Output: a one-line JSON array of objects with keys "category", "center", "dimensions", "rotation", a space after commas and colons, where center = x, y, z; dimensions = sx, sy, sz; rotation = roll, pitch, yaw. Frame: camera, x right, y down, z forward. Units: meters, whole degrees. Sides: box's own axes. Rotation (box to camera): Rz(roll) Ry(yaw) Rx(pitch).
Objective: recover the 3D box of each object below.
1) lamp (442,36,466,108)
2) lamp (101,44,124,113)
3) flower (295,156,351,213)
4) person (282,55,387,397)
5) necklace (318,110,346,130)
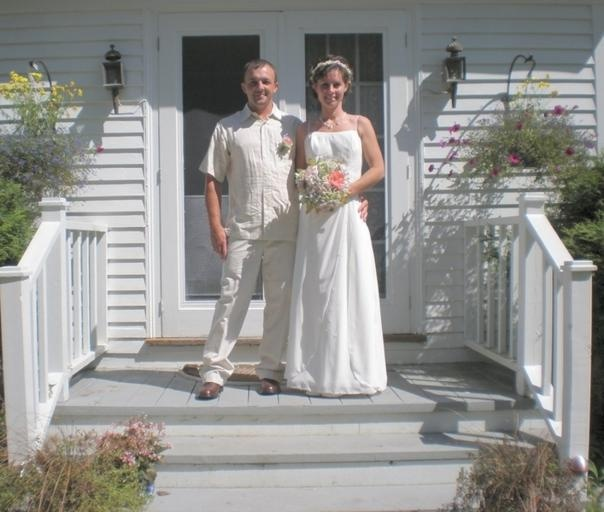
[{"category": "lamp", "center": [1.097, -1.309, 6.218], "dimensions": [0.162, 0.485, 0.290], "rotation": [2, 9, 10]}, {"category": "lamp", "center": [-1.326, -1.250, 6.143], "dimensions": [0.139, 0.487, 0.125], "rotation": [-3, -2, 1]}, {"category": "flower", "center": [0.129, -0.440, 5.326], "dimensions": [0.309, 0.324, 0.209], "rotation": [-4, 4, 0]}, {"category": "person", "center": [0.232, -0.201, 5.485], "dimensions": [0.641, 2.079, 0.510], "rotation": [1, 9, 6]}, {"category": "necklace", "center": [0.192, -0.853, 5.563], "dimensions": [0.128, 0.127, 0.053], "rotation": [-3, -10, -4]}]
